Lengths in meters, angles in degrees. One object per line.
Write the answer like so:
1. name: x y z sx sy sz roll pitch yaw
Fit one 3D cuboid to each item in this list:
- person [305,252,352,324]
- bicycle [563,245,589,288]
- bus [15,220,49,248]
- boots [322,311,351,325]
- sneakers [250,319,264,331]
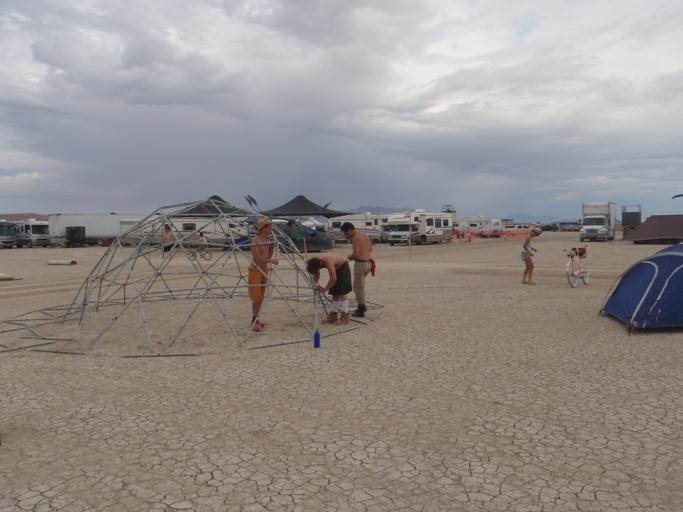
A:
1. person: -0.218 0.665 9.736 0.729 1.436 1.345 1 11 5
2. bicycle: 7.073 0.306 15.043 0.665 1.286 1.806 5 11 25
3. bus: -26.027 -1.809 42.267 2.469 2.050 3.396 -6 11 -29
4. boots: -0.088 1.239 10.019 0.605 0.362 0.202 6 -2 1
5. sneakers: -1.566 1.298 9.269 0.198 0.109 0.299 0 8 -8
